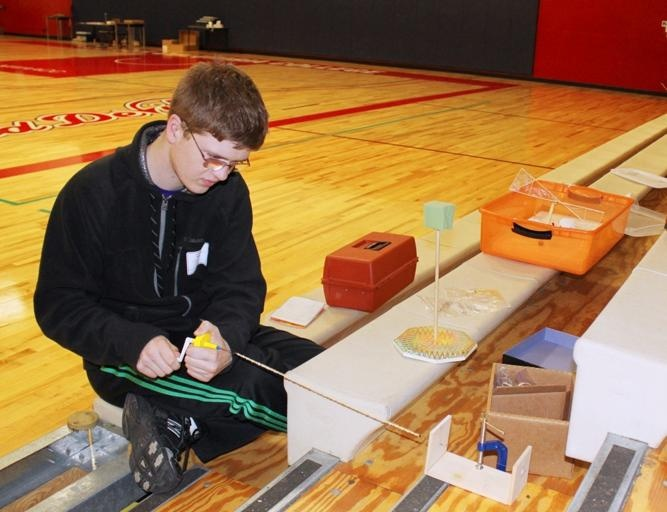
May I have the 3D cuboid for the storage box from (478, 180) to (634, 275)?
[{"bbox_3d":[0.996,-0.143,2.106,0.463,0.172,0.592,20,33,36],"label":"storage box"}]

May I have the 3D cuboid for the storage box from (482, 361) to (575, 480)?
[{"bbox_3d":[0.498,0.388,1.236,0.290,0.154,0.260,5,27,15],"label":"storage box"}]

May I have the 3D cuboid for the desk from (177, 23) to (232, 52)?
[{"bbox_3d":[-3.403,-5.753,12.590,1.321,0.629,0.666,-6,27,-7],"label":"desk"}]

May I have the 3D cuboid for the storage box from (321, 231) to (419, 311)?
[{"bbox_3d":[0.164,0.054,1.982,0.274,0.194,0.422,9,21,34],"label":"storage box"}]
